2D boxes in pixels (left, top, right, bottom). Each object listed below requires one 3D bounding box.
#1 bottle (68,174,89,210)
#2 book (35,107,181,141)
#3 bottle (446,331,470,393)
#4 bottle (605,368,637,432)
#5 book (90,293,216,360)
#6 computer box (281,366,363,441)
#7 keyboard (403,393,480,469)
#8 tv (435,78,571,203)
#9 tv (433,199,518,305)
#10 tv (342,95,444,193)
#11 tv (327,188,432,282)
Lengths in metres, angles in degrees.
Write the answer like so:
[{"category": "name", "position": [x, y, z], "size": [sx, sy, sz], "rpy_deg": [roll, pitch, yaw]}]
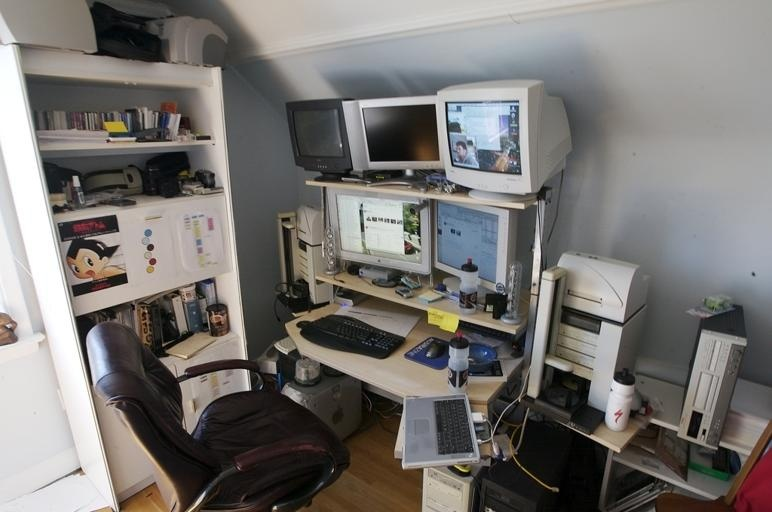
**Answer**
[{"category": "bottle", "position": [-1.824, -0.379, 3.157], "size": [0.086, 0.185, 0.165], "rpy_deg": [-9, 17, -29]}, {"category": "book", "position": [-1.633, -0.784, 3.208], "size": [0.790, 0.189, 0.328], "rpy_deg": [-8, 16, -28]}, {"category": "bottle", "position": [0.393, 0.572, 2.929], "size": [0.107, 0.335, 0.111], "rpy_deg": [0, 15, 0]}, {"category": "bottle", "position": [1.207, 0.749, 2.771], "size": [0.125, 0.312, 0.087], "rpy_deg": [-5, 16, -17]}, {"category": "book", "position": [-1.454, 0.433, 3.282], "size": [0.180, 0.318, 0.350], "rpy_deg": [22, 37, 26]}, {"category": "computer box", "position": [-0.437, 1.037, 3.734], "size": [0.293, 0.449, 0.511], "rpy_deg": [9, 13, 37]}, {"category": "keyboard", "position": [0.261, 0.918, 2.811], "size": [0.397, 0.080, 0.405], "rpy_deg": [-3, 45, 7]}, {"category": "tv", "position": [0.692, -0.741, 3.131], "size": [0.682, 0.622, 0.681], "rpy_deg": [10, 27, 39]}, {"category": "tv", "position": [0.541, -0.033, 3.176], "size": [0.561, 0.517, 0.199], "rpy_deg": [13, 25, 41]}, {"category": "tv", "position": [0.045, -0.689, 3.264], "size": [0.591, 0.456, 0.314], "rpy_deg": [3, 27, 30]}, {"category": "tv", "position": [-0.029, -0.153, 3.483], "size": [0.636, 0.436, 0.073], "rpy_deg": [7, 27, 25]}]
